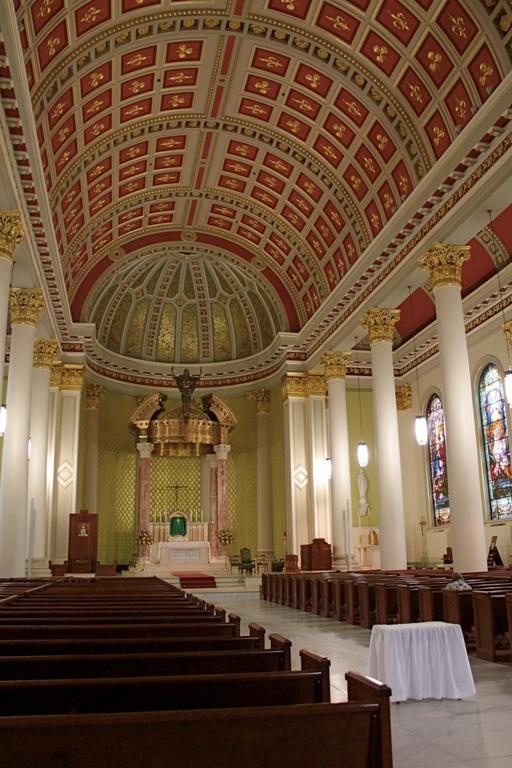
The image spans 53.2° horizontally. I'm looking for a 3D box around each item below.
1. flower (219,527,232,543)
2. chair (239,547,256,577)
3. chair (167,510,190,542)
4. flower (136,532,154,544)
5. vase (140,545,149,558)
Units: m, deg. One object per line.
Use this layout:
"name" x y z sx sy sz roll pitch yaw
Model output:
"flower" -1.303 6.527 21.815 0.536 0.564 0.549 -1 3 -25
"chair" -0.144 7.426 21.215 0.721 1.325 0.750 4 -23 -13
"chair" -3.387 6.341 22.576 0.773 1.131 1.069 -1 -14 -7
"flower" -4.486 6.265 20.774 0.468 0.484 0.488 0 -5 -4
"vase" -4.519 6.884 20.967 0.362 0.453 0.168 1 -14 -14
